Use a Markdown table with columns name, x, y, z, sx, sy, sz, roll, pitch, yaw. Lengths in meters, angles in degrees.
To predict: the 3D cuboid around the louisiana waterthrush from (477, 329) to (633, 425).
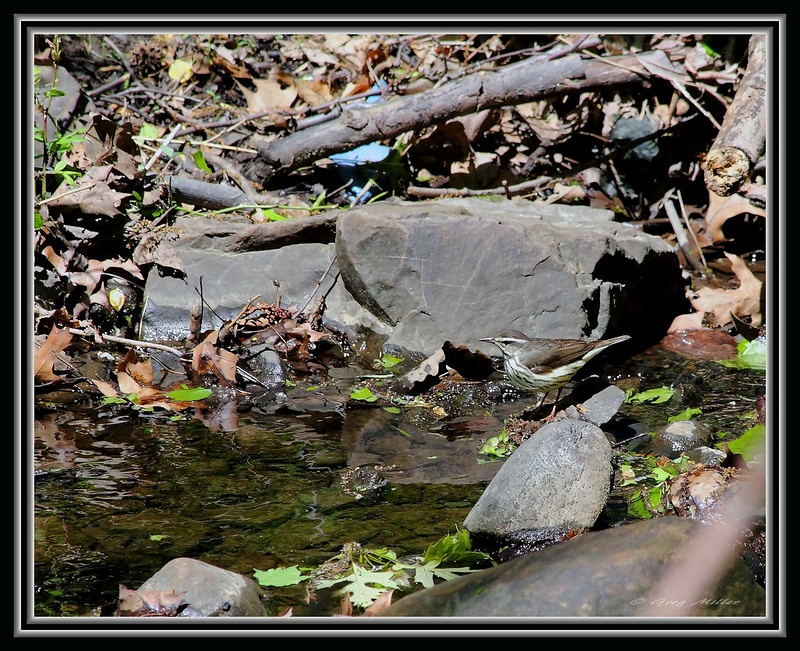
| name | x | y | z | sx | sy | sz | roll | pitch | yaw |
| --- | --- | --- | --- | --- | --- | --- | --- | --- | --- |
| louisiana waterthrush | 0.934 | 0.250 | 5.582 | 1.124 | 0.460 | 0.339 | -7 | 19 | -26 |
